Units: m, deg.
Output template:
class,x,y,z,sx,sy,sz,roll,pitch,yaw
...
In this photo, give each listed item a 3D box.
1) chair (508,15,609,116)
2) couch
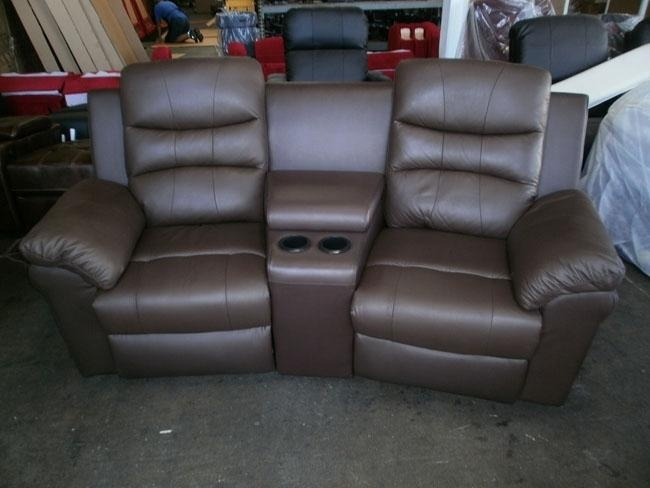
class,x,y,z,sx,sy,sz,roll,pitch,yaw
chair,1.666,-1.309,4.194,0.778,0.622,0.693,-8,-2,-3
couch,-0.019,-0.143,2.839,2.684,1.117,1.080,3,49,7
